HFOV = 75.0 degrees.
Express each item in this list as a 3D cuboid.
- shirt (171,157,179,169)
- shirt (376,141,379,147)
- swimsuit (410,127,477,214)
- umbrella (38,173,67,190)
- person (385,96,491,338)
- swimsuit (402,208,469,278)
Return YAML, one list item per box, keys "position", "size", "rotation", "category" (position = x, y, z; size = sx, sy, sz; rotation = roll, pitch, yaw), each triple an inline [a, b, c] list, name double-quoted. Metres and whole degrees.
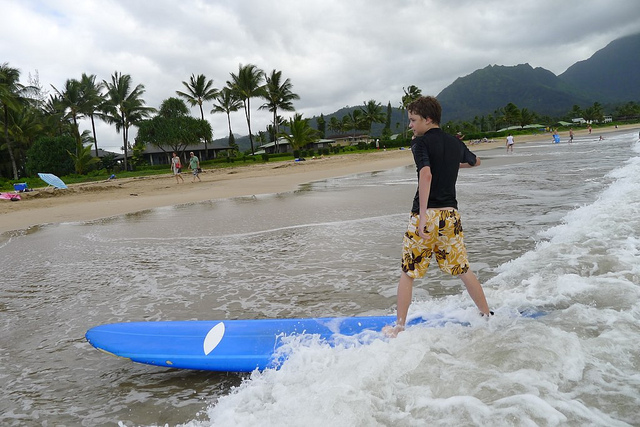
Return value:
- position: [-8.783, -3.089, 25.447]
  size: [0.324, 0.672, 0.585]
  rotation: [-11, 10, -17]
  category: "shirt"
- position: [9.461, -11.544, 69.131]
  size: [0.352, 0.930, 0.701]
  rotation: [-12, 11, -20]
  category: "shirt"
- position: [1.329, -0.490, 4.440]
  size: [0.753, 0.865, 0.263]
  rotation: [-13, 11, -29]
  category: "swimsuit"
- position: [-13.477, -1.638, 20.979]
  size: [0.877, 0.552, 0.826]
  rotation: [22, 14, -33]
  category: "umbrella"
- position: [1.180, -0.011, 4.467]
  size: [1.245, 2.442, 0.433]
  rotation: [-10, 10, -9]
  category: "person"
- position: [1.196, 0.318, 4.471]
  size: [0.793, 0.677, 0.320]
  rotation: [1, 0, -11]
  category: "swimsuit"
